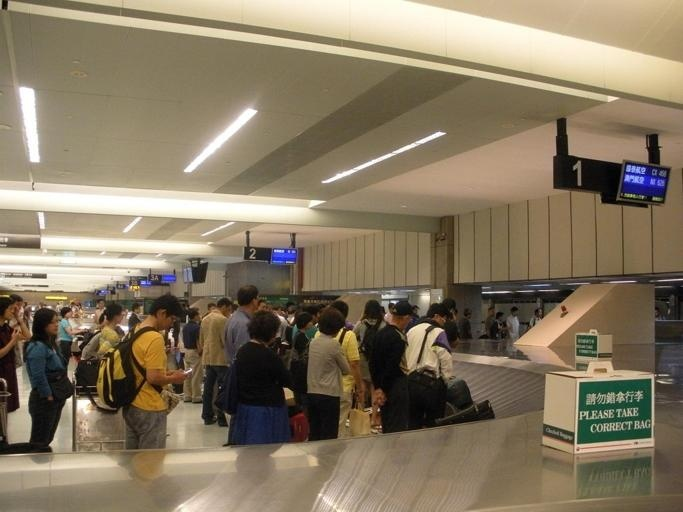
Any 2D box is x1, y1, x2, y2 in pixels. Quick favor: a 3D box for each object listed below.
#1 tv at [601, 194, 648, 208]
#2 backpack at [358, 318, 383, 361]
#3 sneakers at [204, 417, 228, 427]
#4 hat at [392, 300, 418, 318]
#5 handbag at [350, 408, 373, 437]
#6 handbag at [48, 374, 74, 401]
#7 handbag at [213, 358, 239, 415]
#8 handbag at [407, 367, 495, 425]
[{"bbox_3d":[4.631,-0.918,8.750,0.958,0.137,0.358,4,-7,-36],"label":"tv"},{"bbox_3d":[0.354,1.099,7.107,0.384,0.541,0.546,2,-6,-2],"label":"backpack"},{"bbox_3d":[-1.985,2.612,8.340,0.501,0.094,0.269,-5,-8,40],"label":"sneakers"},{"bbox_3d":[0.711,0.596,6.002,0.223,0.177,0.170,1,-6,-13],"label":"hat"},{"bbox_3d":[0.220,2.034,6.366,0.221,0.355,0.689,0,-6,-3],"label":"handbag"},{"bbox_3d":[-3.265,1.512,6.137,0.150,0.325,0.434,0,-6,-2],"label":"handbag"},{"bbox_3d":[-1.048,1.205,4.772,0.180,0.492,0.274,1,-6,-15],"label":"handbag"},{"bbox_3d":[1.192,1.645,6.143,0.852,0.689,2.040,-1,-6,8],"label":"handbag"}]
